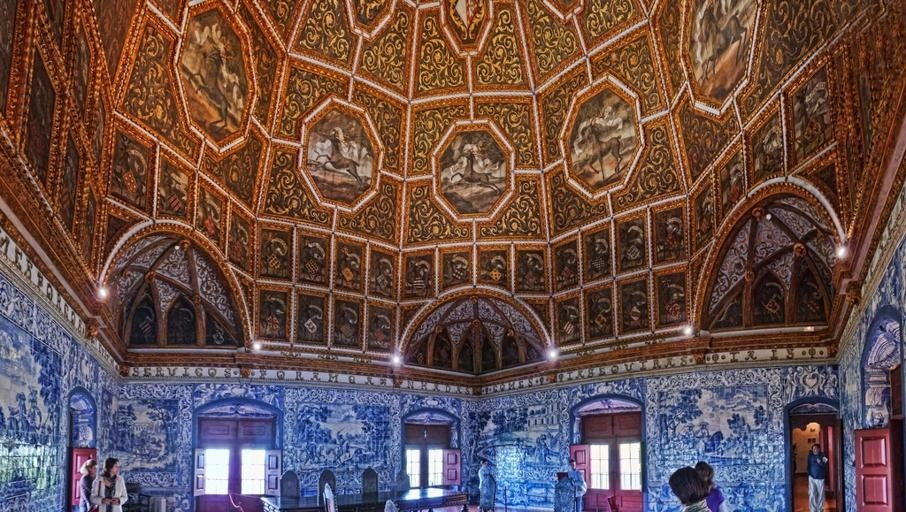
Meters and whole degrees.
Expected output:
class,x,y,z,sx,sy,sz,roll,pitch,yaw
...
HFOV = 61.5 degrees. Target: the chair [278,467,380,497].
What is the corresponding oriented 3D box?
class,x,y,z,sx,sy,sz,roll,pitch,yaw
chair,-4.198,7.388,25.029,1.987,0.979,0.579,10,-37,-19
